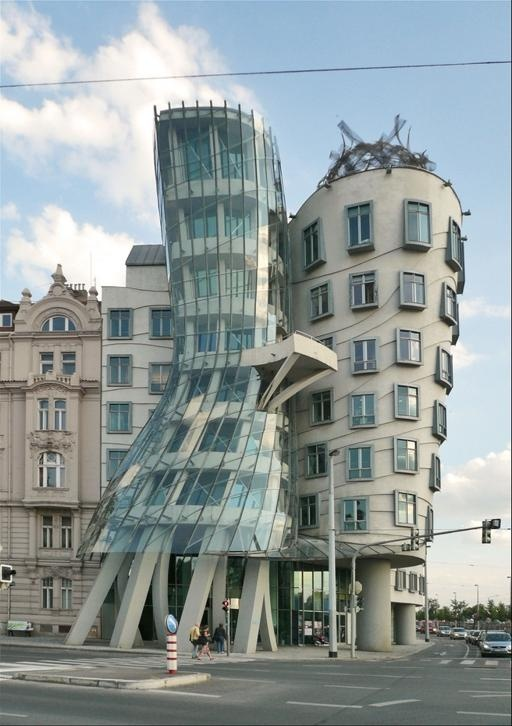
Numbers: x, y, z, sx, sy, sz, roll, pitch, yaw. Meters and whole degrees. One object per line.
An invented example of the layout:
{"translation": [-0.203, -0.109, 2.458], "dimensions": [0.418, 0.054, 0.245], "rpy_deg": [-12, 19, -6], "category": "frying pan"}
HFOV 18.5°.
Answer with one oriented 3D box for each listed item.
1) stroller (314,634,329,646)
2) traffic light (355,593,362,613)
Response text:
{"translation": [3.295, 14.000, 79.099], "dimensions": [0.727, 0.466, 0.374], "rpy_deg": [-3, -11, 42], "category": "stroller"}
{"translation": [4.396, 10.328, 67.349], "dimensions": [0.248, 0.512, 0.693], "rpy_deg": [-1, -9, 10], "category": "traffic light"}
